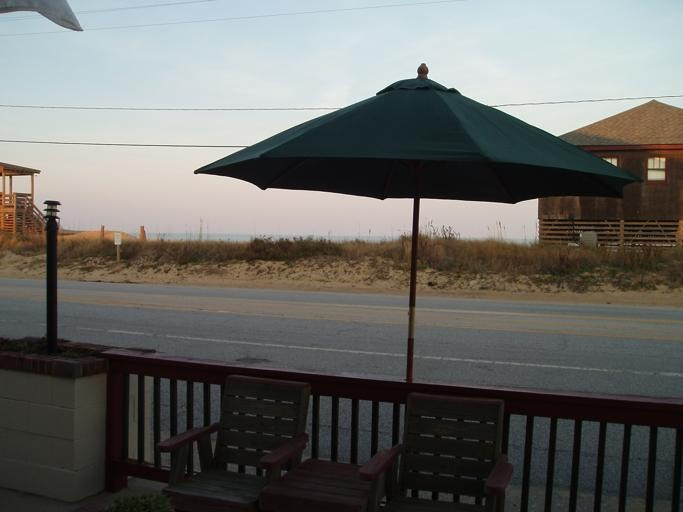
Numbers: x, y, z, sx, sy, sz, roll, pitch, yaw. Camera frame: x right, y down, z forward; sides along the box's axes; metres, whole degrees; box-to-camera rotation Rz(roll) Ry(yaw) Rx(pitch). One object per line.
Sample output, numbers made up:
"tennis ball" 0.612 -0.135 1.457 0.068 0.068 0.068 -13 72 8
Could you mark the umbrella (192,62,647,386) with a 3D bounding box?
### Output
"umbrella" 0.822 -0.345 7.639 3.792 3.231 2.315 1 2 9
